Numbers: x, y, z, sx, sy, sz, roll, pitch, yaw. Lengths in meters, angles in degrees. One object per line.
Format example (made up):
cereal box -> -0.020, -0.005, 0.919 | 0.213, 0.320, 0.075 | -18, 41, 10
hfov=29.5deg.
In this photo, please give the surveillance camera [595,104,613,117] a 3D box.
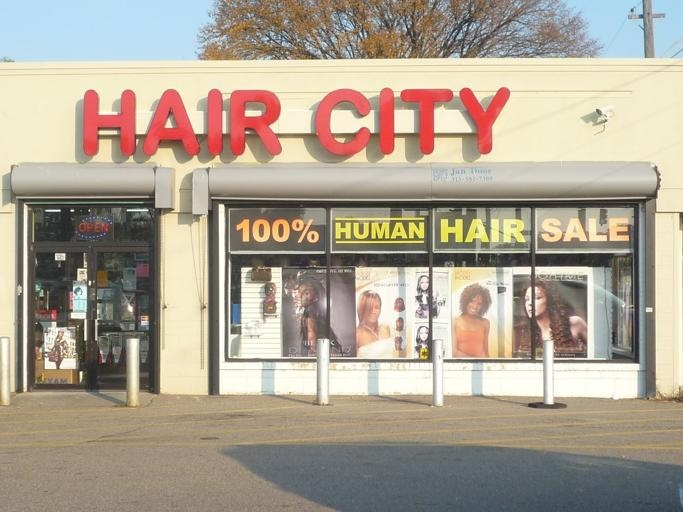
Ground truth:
surveillance camera -> 5.628, -3.090, 27.703 | 0.338, 0.220, 0.208 | -6, 5, -18
